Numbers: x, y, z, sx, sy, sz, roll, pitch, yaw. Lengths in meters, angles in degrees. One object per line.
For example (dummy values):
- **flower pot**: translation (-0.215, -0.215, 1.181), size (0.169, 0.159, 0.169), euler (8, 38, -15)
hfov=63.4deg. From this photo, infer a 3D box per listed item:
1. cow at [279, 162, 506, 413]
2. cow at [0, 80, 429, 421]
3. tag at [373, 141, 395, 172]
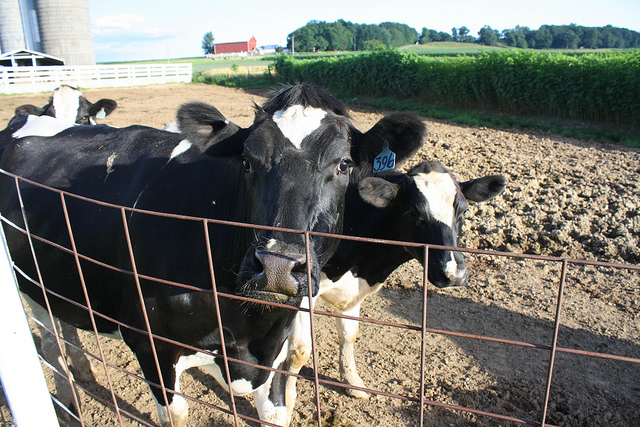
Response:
- **cow**: translation (0.788, 1.005, 7.885), size (1.568, 3.391, 4.332), euler (4, 0, -21)
- **cow**: translation (-1.435, 0.728, 5.957), size (4.650, 4.173, 2.308), euler (3, 20, 11)
- **tag**: translation (0.733, -0.670, 5.959), size (0.293, 0.483, 0.018), euler (0, 4, 11)
